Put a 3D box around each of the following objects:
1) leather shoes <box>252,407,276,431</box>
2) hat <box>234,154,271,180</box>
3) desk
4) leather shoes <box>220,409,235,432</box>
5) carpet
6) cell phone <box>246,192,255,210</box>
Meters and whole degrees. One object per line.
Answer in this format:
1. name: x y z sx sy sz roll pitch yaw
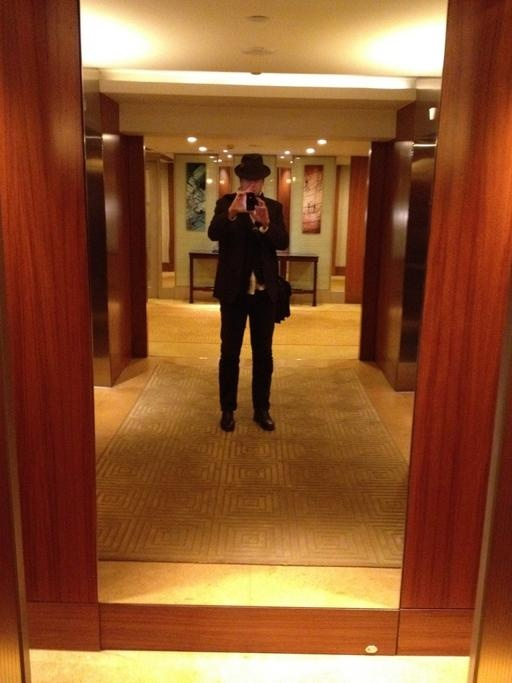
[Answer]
1. leather shoes: 0.046 0.404 2.885 0.060 0.102 0.149 0 3 -11
2. hat: -0.016 -0.770 2.482 0.141 0.121 0.210 -1 14 -2
3. desk: -0.016 -0.738 6.301 1.461 0.698 0.385 1 30 -7
4. leather shoes: -0.142 0.408 2.841 0.045 0.050 0.121 2 18 0
5. carpet: -0.161 0.505 2.888 1.127 0.022 2.316 2 10 -1
6. cell phone: -0.018 -0.613 2.460 0.055 0.097 0.056 -1 13 -2
